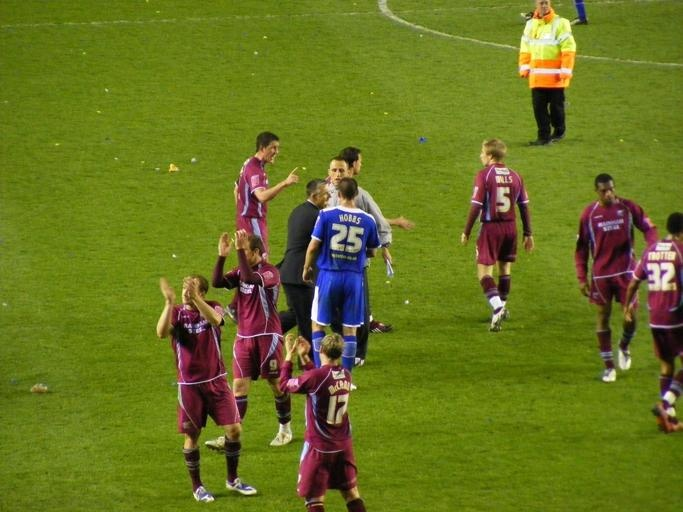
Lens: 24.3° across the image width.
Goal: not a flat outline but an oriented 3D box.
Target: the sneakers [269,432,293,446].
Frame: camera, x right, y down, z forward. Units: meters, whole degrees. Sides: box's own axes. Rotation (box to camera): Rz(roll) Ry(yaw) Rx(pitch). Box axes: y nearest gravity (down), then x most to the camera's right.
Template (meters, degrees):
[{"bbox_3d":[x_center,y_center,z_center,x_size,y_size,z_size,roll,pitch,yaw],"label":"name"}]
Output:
[{"bbox_3d":[-0.868,2.622,22.881,0.368,0.166,0.138,-7,16,-7],"label":"sneakers"}]

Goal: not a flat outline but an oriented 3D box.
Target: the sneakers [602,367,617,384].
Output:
[{"bbox_3d":[4.084,1.816,24.117,0.129,0.138,0.307,-3,-17,-1],"label":"sneakers"}]

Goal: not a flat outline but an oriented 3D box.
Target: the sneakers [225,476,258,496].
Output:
[{"bbox_3d":[-1.385,3.165,21.852,0.481,0.203,0.183,15,16,12],"label":"sneakers"}]

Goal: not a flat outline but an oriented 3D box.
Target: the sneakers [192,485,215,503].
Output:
[{"bbox_3d":[-1.891,3.248,21.658,0.158,0.147,0.305,-16,18,-41],"label":"sneakers"}]

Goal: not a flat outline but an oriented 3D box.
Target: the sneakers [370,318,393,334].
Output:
[{"bbox_3d":[0.610,1.161,25.780,0.447,0.200,0.162,1,8,-11],"label":"sneakers"}]
